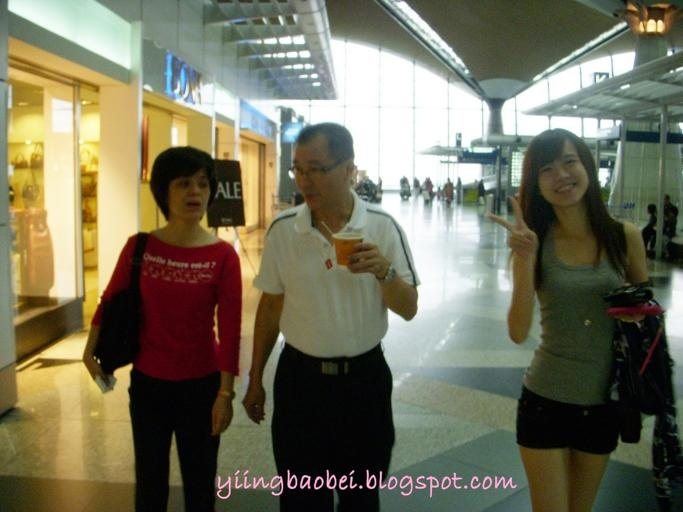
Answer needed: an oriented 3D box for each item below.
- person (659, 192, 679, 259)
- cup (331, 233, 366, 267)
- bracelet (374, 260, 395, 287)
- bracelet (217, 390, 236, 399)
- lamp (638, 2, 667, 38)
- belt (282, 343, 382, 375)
[{"bbox_3d":[6.996,-0.693,11.926,0.253,1.216,1.967,1,8,30],"label":"person"},{"bbox_3d":[0.026,-0.037,2.677,0.130,0.157,0.180,-3,7,-8],"label":"cup"},{"bbox_3d":[0.224,0.082,2.742,0.071,0.115,0.103,35,-2,-10],"label":"bracelet"},{"bbox_3d":[-0.574,0.684,2.764,0.055,0.028,0.065,15,-8,-12],"label":"bracelet"},{"bbox_3d":[9.522,-7.264,17.158,0.729,0.889,0.826,0,11,8],"label":"lamp"},{"bbox_3d":[-0.052,0.514,2.839,0.565,0.146,0.133,-2,7,3],"label":"belt"}]
